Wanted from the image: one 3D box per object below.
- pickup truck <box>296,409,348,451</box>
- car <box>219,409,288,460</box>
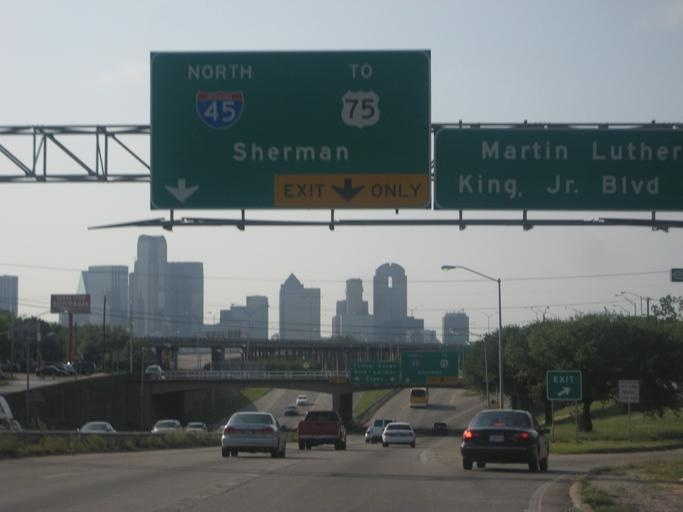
[{"bbox_3d":[-1.135,10.600,92.021,2.078,2.572,3.675,-6,-11,31],"label":"pickup truck"},{"bbox_3d":[-4.674,9.686,81.803,2.480,2.930,5.882,1,-9,2],"label":"car"}]
